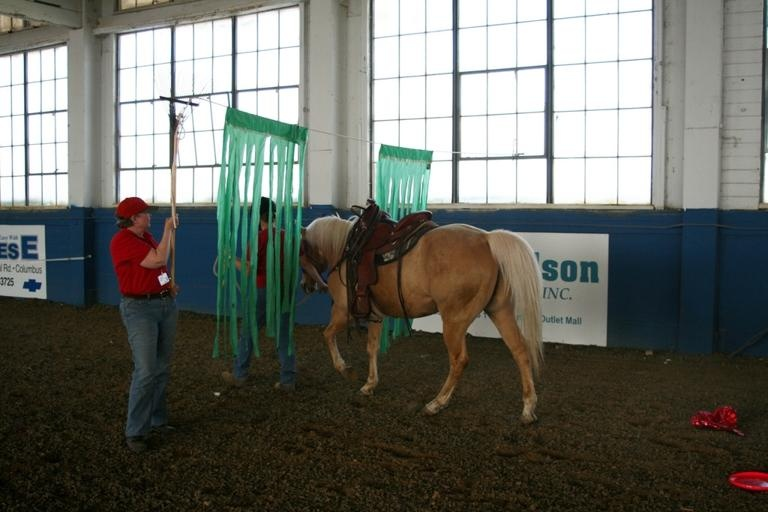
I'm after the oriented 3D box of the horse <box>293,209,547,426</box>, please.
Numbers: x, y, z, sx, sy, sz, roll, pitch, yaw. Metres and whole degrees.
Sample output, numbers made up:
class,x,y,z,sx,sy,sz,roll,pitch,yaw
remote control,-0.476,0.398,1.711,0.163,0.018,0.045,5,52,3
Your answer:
class,x,y,z,sx,sy,sz,roll,pitch,yaw
horse,0.190,0.667,7.735,3.481,2.434,0.955,-2,-2,37

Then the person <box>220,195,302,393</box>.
class,x,y,z,sx,sy,sz,roll,pitch,yaw
person,-1.416,0.421,7.552,0.756,2.189,0.473,-1,3,-5

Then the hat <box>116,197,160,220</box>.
class,x,y,z,sx,sy,sz,roll,pitch,yaw
hat,-2.502,-0.469,6.579,0.308,0.188,0.191,-22,19,-18

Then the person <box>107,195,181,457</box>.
class,x,y,z,sx,sy,sz,roll,pitch,yaw
person,-2.371,0.659,6.537,0.582,2.476,0.386,-2,3,-26

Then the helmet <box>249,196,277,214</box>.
class,x,y,z,sx,sy,sz,roll,pitch,yaw
helmet,-1.325,-0.576,7.393,0.193,0.206,0.146,-10,11,-19

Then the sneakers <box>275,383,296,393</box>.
class,x,y,z,sx,sy,sz,roll,pitch,yaw
sneakers,-1.153,1.496,7.592,0.193,0.080,0.101,8,4,6

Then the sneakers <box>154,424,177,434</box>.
class,x,y,z,sx,sy,sz,roll,pitch,yaw
sneakers,-2.260,1.783,6.767,0.217,0.106,0.090,0,4,-9

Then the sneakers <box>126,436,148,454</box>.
class,x,y,z,sx,sy,sz,roll,pitch,yaw
sneakers,-2.466,1.864,6.544,0.114,0.100,0.198,3,3,-22
